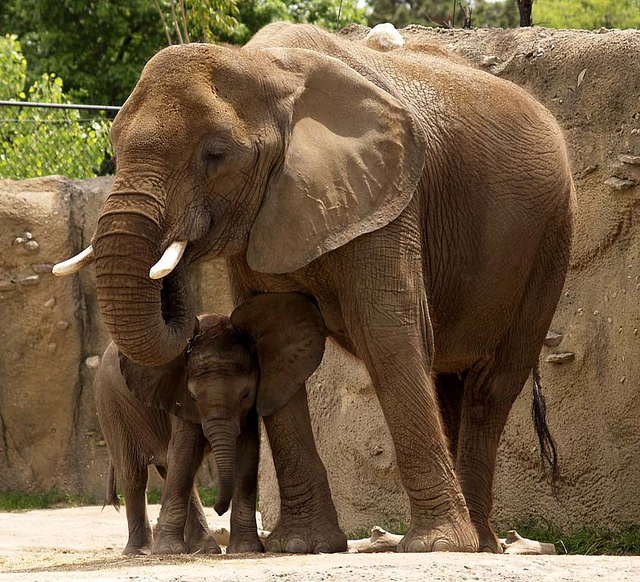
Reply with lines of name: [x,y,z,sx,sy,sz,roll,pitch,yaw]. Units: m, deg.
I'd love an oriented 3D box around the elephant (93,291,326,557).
elephant: [-0.516,0.620,6.361,0.861,1.284,1.618,-1,5,-4]

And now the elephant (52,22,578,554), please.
elephant: [0.186,0.119,6.158,2.894,2.817,1.337,2,-2,-34]
